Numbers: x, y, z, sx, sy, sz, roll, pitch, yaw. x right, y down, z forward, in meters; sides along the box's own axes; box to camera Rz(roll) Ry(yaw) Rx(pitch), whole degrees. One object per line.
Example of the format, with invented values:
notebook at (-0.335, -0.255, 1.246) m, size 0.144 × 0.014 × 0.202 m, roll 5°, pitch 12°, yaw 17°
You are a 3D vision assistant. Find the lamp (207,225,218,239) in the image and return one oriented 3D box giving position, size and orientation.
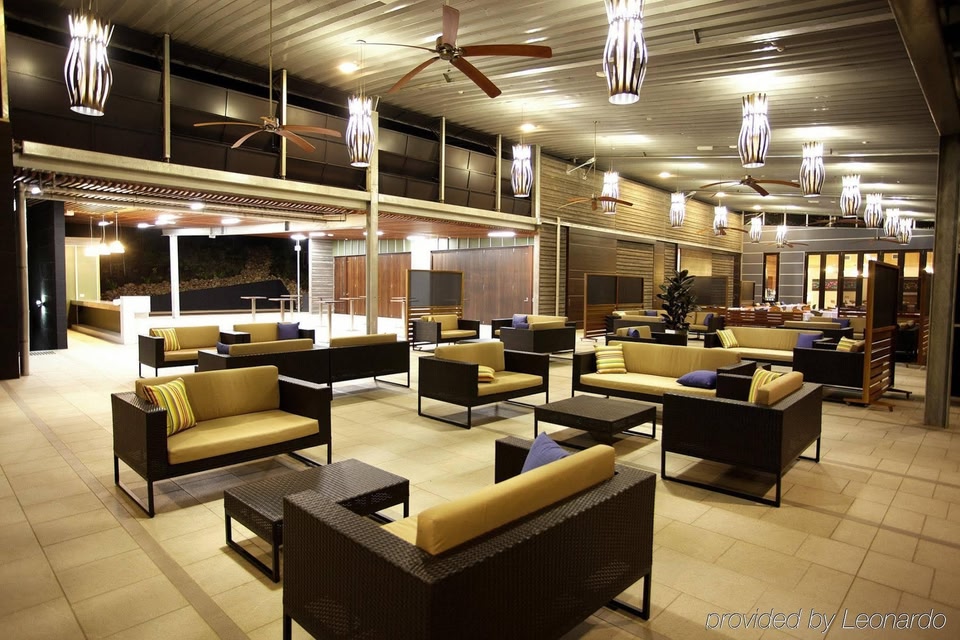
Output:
lamp at (-8.533, -2.794, 20.362) m, size 0.449 × 0.368 × 0.742 m, roll 2°, pitch 4°, yaw -12°

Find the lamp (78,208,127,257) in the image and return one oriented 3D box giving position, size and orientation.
lamp at (-11.113, -2.565, 18.718) m, size 1.529 × 1.260 × 0.379 m, roll 0°, pitch -1°, yaw 40°

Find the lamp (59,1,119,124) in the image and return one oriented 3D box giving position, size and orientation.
lamp at (-4.534, -3.027, 7.407) m, size 0.470 × 1.163 × 0.303 m, roll -3°, pitch 6°, yaw -25°

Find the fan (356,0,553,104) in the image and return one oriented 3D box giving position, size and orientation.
fan at (-0.383, -4.051, 9.544) m, size 1.915 × 0.352 × 1.704 m, roll -3°, pitch -5°, yaw 36°
